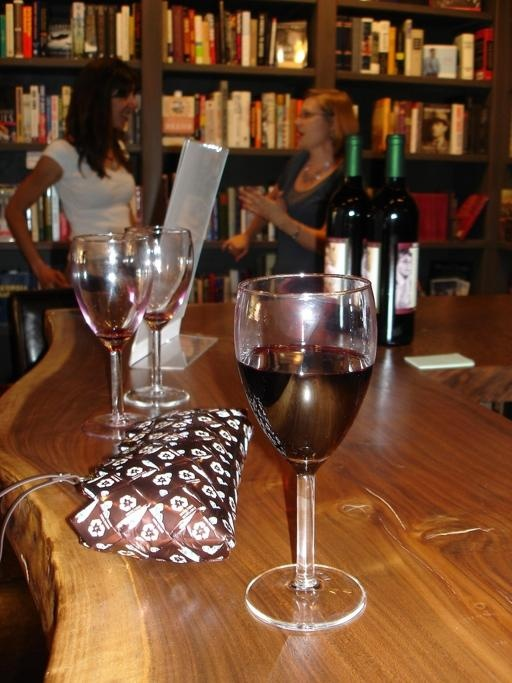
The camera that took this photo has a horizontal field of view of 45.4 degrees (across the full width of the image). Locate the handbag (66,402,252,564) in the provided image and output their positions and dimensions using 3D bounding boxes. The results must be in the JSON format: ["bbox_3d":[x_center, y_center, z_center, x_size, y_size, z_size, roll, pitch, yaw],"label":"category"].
[{"bbox_3d":[-0.055,0.088,0.423,0.068,0.033,0.111,4,19,6],"label":"handbag"}]

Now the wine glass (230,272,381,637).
[{"bbox_3d":[0.029,0.051,0.342,0.076,0.173,0.121,-2,12,-2],"label":"wine glass"}]

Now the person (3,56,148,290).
[{"bbox_3d":[-0.766,-0.691,2.570,0.578,0.925,0.386,-4,12,-12],"label":"person"}]
